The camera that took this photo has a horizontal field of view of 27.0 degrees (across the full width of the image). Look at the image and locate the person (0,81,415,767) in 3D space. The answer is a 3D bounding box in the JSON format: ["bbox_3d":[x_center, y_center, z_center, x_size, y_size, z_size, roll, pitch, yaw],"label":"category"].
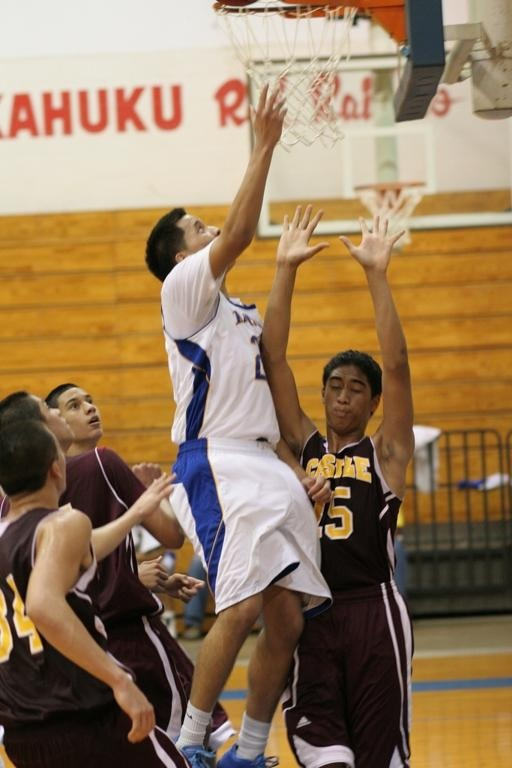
[{"bbox_3d":[0.060,0.117,3.304,0.683,2.064,0.667,-3,3,-4],"label":"person"}]
